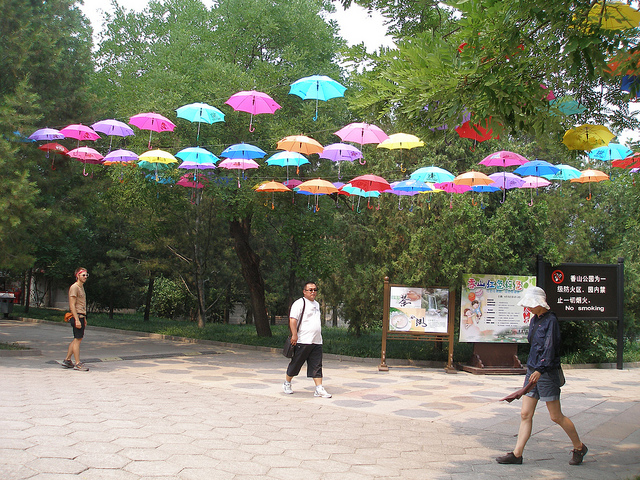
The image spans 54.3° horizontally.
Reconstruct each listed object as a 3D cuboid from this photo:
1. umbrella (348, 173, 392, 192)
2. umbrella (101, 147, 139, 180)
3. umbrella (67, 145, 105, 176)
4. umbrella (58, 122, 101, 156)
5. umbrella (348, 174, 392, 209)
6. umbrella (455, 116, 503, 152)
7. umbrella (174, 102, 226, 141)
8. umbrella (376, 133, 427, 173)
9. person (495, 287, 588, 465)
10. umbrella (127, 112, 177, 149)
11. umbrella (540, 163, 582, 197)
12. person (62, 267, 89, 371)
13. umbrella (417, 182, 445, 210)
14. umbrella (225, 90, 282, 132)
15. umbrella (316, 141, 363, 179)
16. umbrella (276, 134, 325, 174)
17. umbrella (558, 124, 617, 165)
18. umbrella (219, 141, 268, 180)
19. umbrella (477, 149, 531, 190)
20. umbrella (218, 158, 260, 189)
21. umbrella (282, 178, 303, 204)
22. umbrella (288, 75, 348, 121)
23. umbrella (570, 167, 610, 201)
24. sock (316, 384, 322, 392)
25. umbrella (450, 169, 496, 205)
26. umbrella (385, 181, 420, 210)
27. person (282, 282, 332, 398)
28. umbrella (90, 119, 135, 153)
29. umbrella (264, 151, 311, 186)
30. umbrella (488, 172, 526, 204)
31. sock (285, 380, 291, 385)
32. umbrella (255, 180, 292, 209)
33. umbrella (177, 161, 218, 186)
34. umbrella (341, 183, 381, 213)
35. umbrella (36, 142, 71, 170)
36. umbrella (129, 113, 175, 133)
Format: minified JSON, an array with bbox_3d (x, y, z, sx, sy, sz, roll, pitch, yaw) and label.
[{"bbox_3d":[1.469,-1.656,18.101,0.627,0.275,0.646,-3,-9,39],"label":"umbrella"},{"bbox_3d":[-5.924,-2.406,18.740,0.569,0.511,0.586,-3,-4,22],"label":"umbrella"},{"bbox_3d":[-7.082,-2.462,19.276,0.704,0.562,0.686,3,11,0],"label":"umbrella"},{"bbox_3d":[-7.404,-3.267,19.109,1.034,0.798,1.056,11,-9,-43],"label":"umbrella"},{"bbox_3d":[1.448,-1.399,18.180,1.235,0.946,1.159,4,-5,2],"label":"umbrella"},{"bbox_3d":[2.654,-1.839,10.629,0.441,0.362,0.438,33,-44,-22],"label":"umbrella"},{"bbox_3d":[-3.444,-3.462,17.923,0.818,0.562,0.842,2,-1,24],"label":"umbrella"},{"bbox_3d":[2.168,-2.274,16.720,1.121,0.876,1.164,-4,7,-25],"label":"umbrella"},{"bbox_3d":[3.540,2.138,9.894,1.189,2.752,0.650,0,-6,19],"label":"person"},{"bbox_3d":[-4.783,-3.149,17.831,0.734,0.553,0.747,-2,-7,37],"label":"umbrella"},{"bbox_3d":[7.002,-1.761,17.997,0.789,0.659,0.814,6,3,25],"label":"umbrella"},{"bbox_3d":[-5.846,1.926,15.028,0.558,2.437,1.058,4,-6,-21],"label":"person"},{"bbox_3d":[3.676,-1.464,20.361,0.671,0.654,0.713,3,4,25],"label":"umbrella"},{"bbox_3d":[-1.923,-3.630,17.768,0.929,0.680,0.898,1,-8,1],"label":"umbrella"},{"bbox_3d":[0.576,-2.395,18.229,0.710,0.546,0.726,8,-10,-41],"label":"umbrella"},{"bbox_3d":[-0.552,-2.612,17.370,1.120,0.572,0.957,7,-8,-33],"label":"umbrella"},{"bbox_3d":[4.502,-1.783,10.520,0.976,0.481,0.340,4,-6,-13],"label":"umbrella"},{"bbox_3d":[-2.358,-2.522,19.435,1.400,0.997,1.360,0,-5,-8],"label":"umbrella"},{"bbox_3d":[5.216,-2.208,17.520,1.155,0.857,1.013,2,-7,0],"label":"umbrella"},{"bbox_3d":[-2.260,-2.095,18.587,1.020,0.921,1.040,7,11,33],"label":"umbrella"},{"bbox_3d":[-0.938,-1.639,20.458,0.844,0.867,0.857,-1,-4,-1],"label":"umbrella"},{"bbox_3d":[-0.012,-3.882,16.986,1.023,0.773,1.000,-5,-12,41],"label":"umbrella"},{"bbox_3d":[8.131,-1.644,18.357,0.843,0.692,0.887,2,-2,8],"label":"umbrella"},{"bbox_3d":[-0.015,3.199,13.488,0.125,0.118,0.141,3,-7,-4],"label":"sock"},{"bbox_3d":[4.248,-1.582,17.542,0.760,0.731,0.574,-13,25,5],"label":"umbrella"},{"bbox_3d":[2.543,-1.443,19.841,0.799,0.555,0.813,-2,3,-16],"label":"umbrella"},{"bbox_3d":[-0.240,2.176,13.702,1.023,2.442,0.689,1,-6,12],"label":"person"},{"bbox_3d":[-6.178,-3.191,18.674,0.665,0.503,0.652,1,-8,15],"label":"umbrella"},{"bbox_3d":[-1.084,-2.251,19.589,1.406,1.242,1.425,-1,-5,1],"label":"umbrella"},{"bbox_3d":[5.409,-1.636,18.122,0.595,0.504,0.605,3,-5,-3],"label":"umbrella"},{"bbox_3d":[-0.710,3.134,13.707,0.144,0.108,0.144,2,-1,-23],"label":"sock"},{"bbox_3d":[-1.553,-1.502,20.026,0.842,0.672,0.846,1,7,5],"label":"umbrella"},{"bbox_3d":[-3.832,-2.100,19.499,0.781,0.542,0.775,-5,5,-40],"label":"umbrella"},{"bbox_3d":[1.570,-1.584,23.336,0.976,0.837,0.995,3,-11,0],"label":"umbrella"},{"bbox_3d":[-8.347,-2.652,19.518,0.667,0.612,0.678,6,2,-9],"label":"umbrella"},{"bbox_3d":[-4.904,-3.468,18.365,0.857,0.390,0.862,7,-19,-20],"label":"umbrella"}]
